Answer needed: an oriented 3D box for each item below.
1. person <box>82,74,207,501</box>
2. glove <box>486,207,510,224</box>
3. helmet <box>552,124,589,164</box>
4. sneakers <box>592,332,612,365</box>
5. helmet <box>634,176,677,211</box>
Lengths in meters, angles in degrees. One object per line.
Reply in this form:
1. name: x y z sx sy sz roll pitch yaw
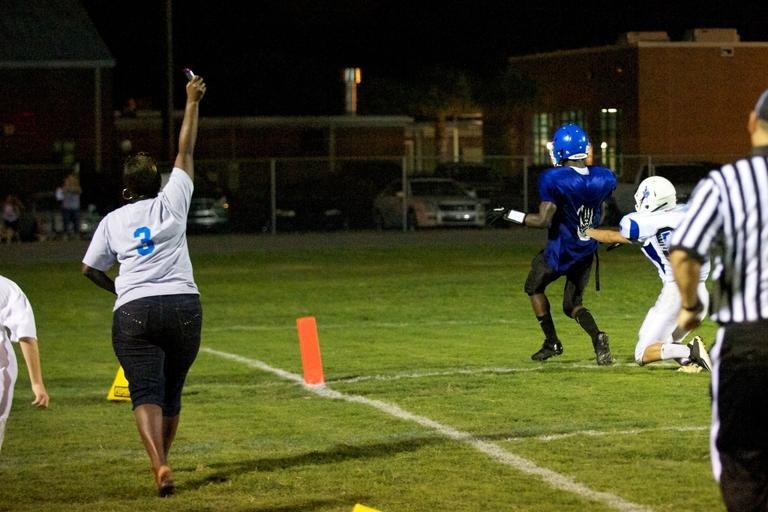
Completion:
1. person: -1.943 0.304 10.440 0.994 3.443 0.786 -5 9 -18
2. glove: 1.265 -0.450 14.160 0.195 0.224 0.089 20 29 3
3. helmet: 2.116 -1.282 14.156 0.492 0.436 0.506 -2 0 -14
4. sneakers: 2.416 1.031 13.864 0.178 0.387 0.204 -7 8 18
5. helmet: 2.833 -0.677 13.232 0.364 0.317 0.430 -13 17 -19
